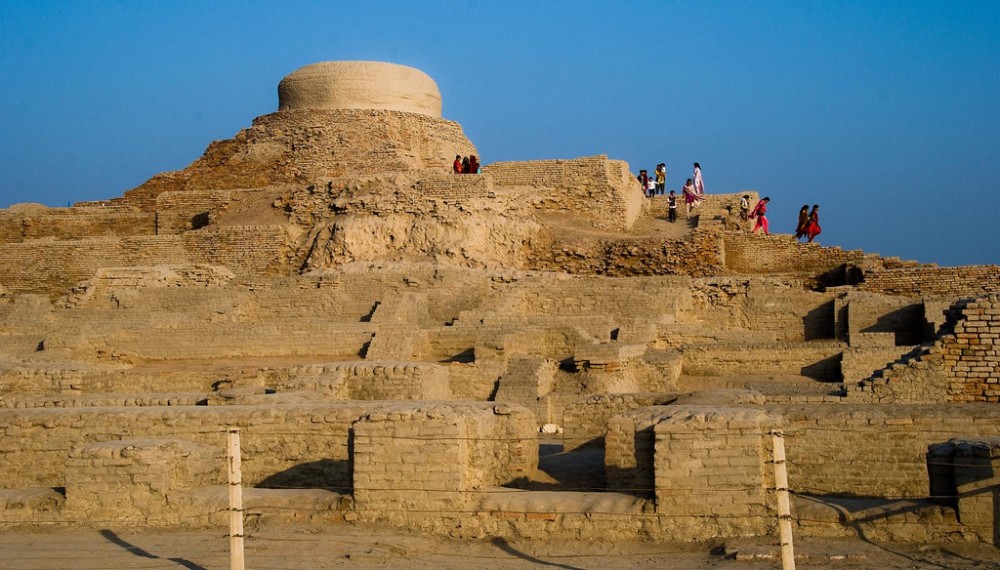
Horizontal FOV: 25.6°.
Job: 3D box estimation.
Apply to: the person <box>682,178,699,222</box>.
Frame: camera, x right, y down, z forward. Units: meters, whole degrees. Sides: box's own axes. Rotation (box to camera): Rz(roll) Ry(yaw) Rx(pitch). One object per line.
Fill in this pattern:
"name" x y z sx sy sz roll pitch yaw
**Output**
"person" 6.125 -2.631 70.080 0.512 1.310 0.833 -2 -16 3
